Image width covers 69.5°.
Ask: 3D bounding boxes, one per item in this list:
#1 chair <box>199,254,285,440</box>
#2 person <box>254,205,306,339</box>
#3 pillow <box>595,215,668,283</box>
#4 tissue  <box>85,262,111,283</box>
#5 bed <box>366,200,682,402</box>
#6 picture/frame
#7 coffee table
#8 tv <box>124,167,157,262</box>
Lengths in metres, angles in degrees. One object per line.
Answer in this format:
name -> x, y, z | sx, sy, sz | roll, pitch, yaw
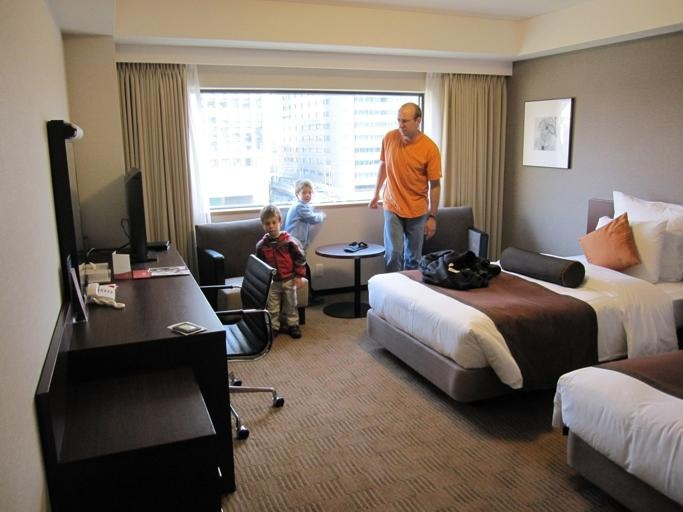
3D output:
chair -> -0.712, 0.590, 3.844 | 0.967, 1.181, 1.108 | -3, 10, -19
person -> -0.627, 0.193, 4.875 | 0.513, 1.362, 0.434 | -3, 20, -3
pillow -> 2.619, -0.067, 4.351 | 0.176, 0.480, 0.450 | 14, -2, -22
tissue  -> -1.758, 0.122, 3.545 | 0.068, 0.130, 0.127 | 1, 3, 40
bed -> 1.450, 0.393, 3.745 | 1.551, 0.511, 1.334 | -9, 13, -18
picture/frame -> 2.566, -1.515, 6.055 | 0.045, 0.983, 0.805 | -10, 15, -28
coffee table -> 0.074, 0.205, 5.671 | 0.730, 0.736, 0.803 | -4, 19, -13
tv -> -1.805, -0.385, 4.392 | 0.248, 0.825, 0.726 | -8, 18, -24
